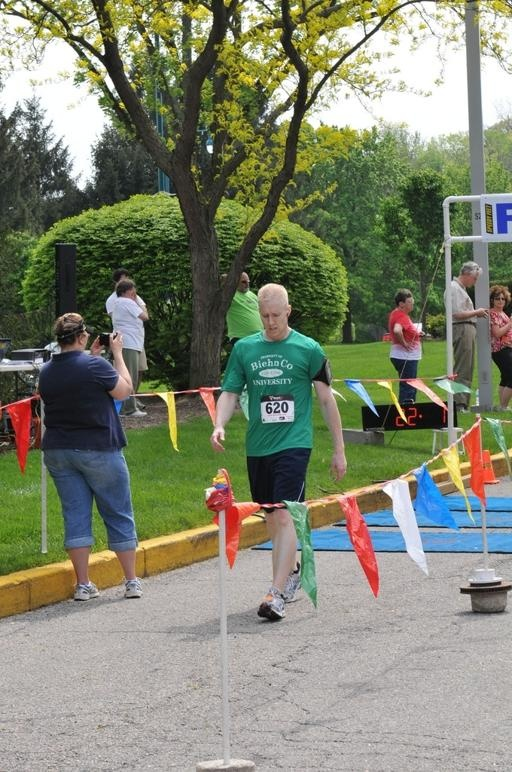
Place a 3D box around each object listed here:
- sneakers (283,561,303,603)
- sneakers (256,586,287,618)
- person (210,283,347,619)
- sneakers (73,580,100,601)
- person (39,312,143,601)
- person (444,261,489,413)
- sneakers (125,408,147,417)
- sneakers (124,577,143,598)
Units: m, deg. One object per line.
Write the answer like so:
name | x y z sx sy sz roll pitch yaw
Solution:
sneakers | 0.199 1.086 6.639 0.079 0.113 0.248 -4 3 12
sneakers | 0.077 1.109 6.136 0.135 0.154 0.153 -1 4 -1
person | 0.113 0.345 6.235 0.680 1.716 0.723 -1 4 4
sneakers | -0.956 1.160 6.860 0.061 0.077 0.172 1 3 22
person | -0.919 0.414 6.721 0.521 1.603 0.275 -2 4 -11
person | 2.408 -0.515 13.750 0.364 1.740 1.550 -1 4 9
sneakers | -1.411 0.330 14.329 0.256 0.113 0.095 -5 -4 40
sneakers | -0.693 1.153 6.866 0.056 0.067 0.141 -1 2 -2
